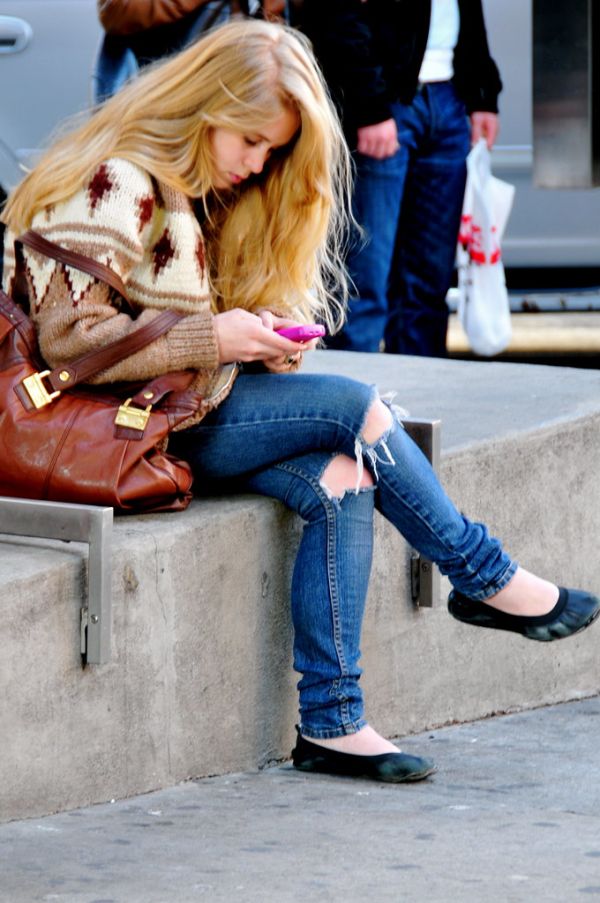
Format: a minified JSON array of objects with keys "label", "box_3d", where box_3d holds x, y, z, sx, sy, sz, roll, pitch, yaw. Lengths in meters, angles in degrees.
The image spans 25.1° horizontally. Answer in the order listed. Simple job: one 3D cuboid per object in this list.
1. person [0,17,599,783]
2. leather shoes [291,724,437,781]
[{"label":"person","box_3d":[-0.052,-0.099,2.239,0.904,1.212,0.417,4,0,-13]},{"label":"leather shoes","box_3d":[0.083,0.473,2.153,0.250,0.082,0.080,1,-3,21]}]
